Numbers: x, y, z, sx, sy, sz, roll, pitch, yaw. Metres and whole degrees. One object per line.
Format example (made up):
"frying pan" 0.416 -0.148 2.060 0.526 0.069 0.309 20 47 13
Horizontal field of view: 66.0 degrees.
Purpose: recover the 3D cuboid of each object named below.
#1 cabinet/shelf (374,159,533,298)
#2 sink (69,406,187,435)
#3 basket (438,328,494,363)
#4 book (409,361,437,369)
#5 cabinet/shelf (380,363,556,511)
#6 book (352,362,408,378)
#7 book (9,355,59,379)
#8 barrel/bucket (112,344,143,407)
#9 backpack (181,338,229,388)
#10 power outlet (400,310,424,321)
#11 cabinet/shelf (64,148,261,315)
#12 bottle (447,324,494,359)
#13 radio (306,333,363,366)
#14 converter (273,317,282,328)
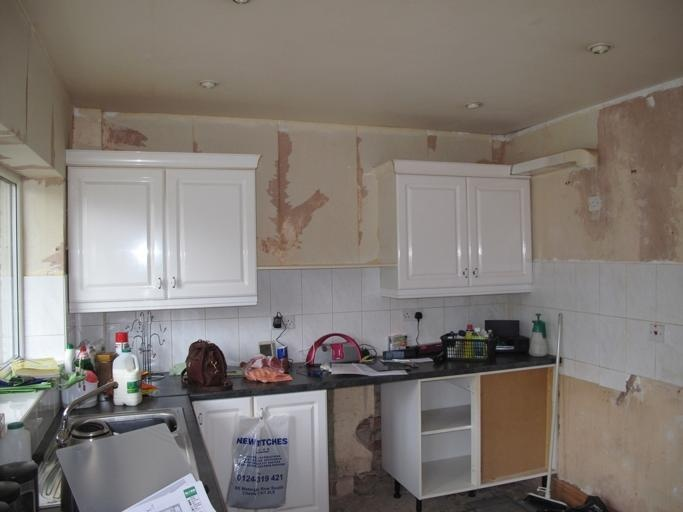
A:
"cabinet/shelf" 0.822 -0.215 3.964 1.013 0.881 0.377 0 -4 -13
"sink" -1.119 0.897 2.880 0.424 0.102 0.259 1 2 -14
"basket" 0.965 0.672 3.938 0.321 0.145 0.215 0 -2 -1
"book" 0.599 0.785 3.855 0.172 0.025 0.262 -3 -2 8
"cabinet/shelf" 0.970 1.288 4.010 1.202 0.965 0.640 -3 -1 -20
"book" 0.277 0.803 3.688 0.368 0.026 0.483 2 -2 -30
"book" -1.750 0.659 3.030 0.254 0.121 0.387 -2 -2 -30
"barrel/bucket" -1.295 0.728 3.190 0.152 0.339 0.170 2 1 -2
"backpack" -0.883 0.676 3.502 0.247 0.270 0.380 5 -6 -40
"power outlet" 0.581 0.475 4.230 0.187 0.074 0.020 -3 -1 -18
"cabinet/shelf" -1.211 -0.175 3.635 1.188 1.066 0.407 -2 12 -22
"bottle" 0.969 0.638 3.928 0.288 0.128 0.214 1 -2 -30
"radio" -0.040 0.686 3.935 0.418 0.229 0.107 -1 -8 -14
"converter" -0.475 0.492 3.922 0.076 0.107 0.056 2 -5 -28
